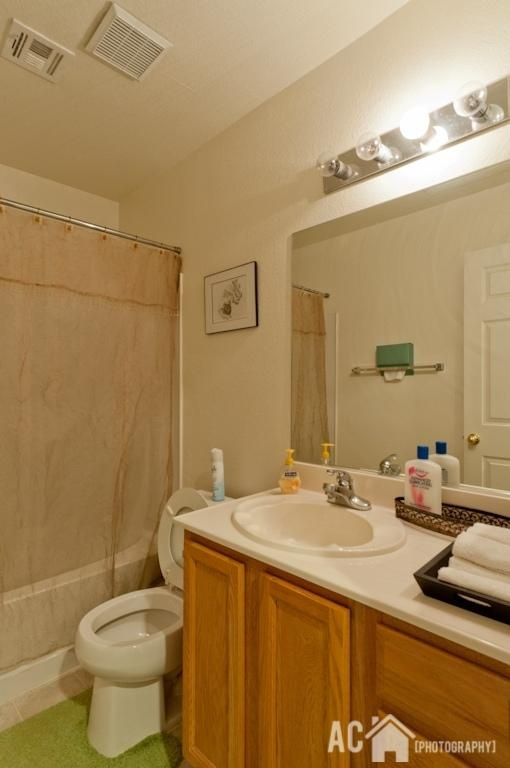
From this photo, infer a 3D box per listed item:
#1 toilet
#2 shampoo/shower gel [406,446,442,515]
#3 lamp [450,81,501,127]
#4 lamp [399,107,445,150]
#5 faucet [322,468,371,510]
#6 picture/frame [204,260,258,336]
[{"bbox_3d":[-0.359,0.774,1.823,0.472,0.738,0.295,-6,11,-44],"label":"toilet"},{"bbox_3d":[0.454,0.243,1.446,0.107,0.162,0.121,-1,1,-39],"label":"shampoo/shower gel"},{"bbox_3d":[0.549,-0.697,1.352,0.106,0.102,0.118,0,1,29],"label":"lamp"},{"bbox_3d":[0.444,-0.676,1.463,0.120,0.097,0.114,0,1,28],"label":"lamp"},{"bbox_3d":[0.271,0.316,1.609,0.066,0.106,0.131,4,-6,-41],"label":"faucet"},{"bbox_3d":[-0.088,-0.336,2.162,0.006,0.245,0.299,-1,2,-31],"label":"picture/frame"}]
